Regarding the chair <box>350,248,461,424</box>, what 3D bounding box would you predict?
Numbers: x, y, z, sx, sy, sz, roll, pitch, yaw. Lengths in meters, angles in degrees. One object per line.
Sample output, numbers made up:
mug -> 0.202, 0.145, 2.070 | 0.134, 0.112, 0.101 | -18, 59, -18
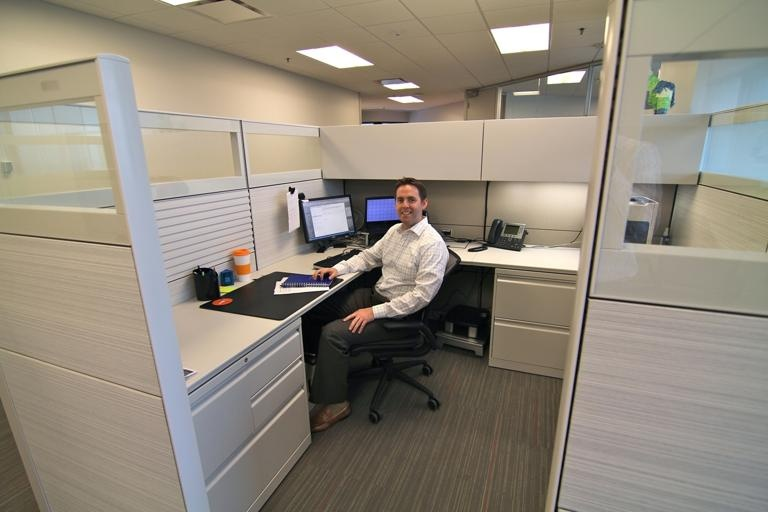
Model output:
chair -> 0.056, 0.436, 2.993 | 0.654, 0.848, 0.598 | 0, 16, -14

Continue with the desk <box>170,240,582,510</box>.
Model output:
desk -> -0.364, 0.369, 2.710 | 1.642, 0.645, 1.605 | -1, 17, 4

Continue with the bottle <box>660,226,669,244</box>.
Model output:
bottle -> 0.961, -0.069, 1.664 | 0.032, 0.057, 0.019 | -11, 17, -35

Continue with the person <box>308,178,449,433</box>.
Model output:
person -> -0.065, 0.273, 3.061 | 0.834, 1.473, 0.759 | 1, 16, -14

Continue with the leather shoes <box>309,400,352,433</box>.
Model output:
leather shoes -> -0.309, 0.909, 2.801 | 0.232, 0.080, 0.120 | -2, 4, -42

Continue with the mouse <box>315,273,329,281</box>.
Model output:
mouse -> -0.367, 0.121, 2.888 | 0.088, 0.042, 0.070 | -1, 6, -10

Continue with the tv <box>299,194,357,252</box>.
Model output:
tv -> -0.362, -0.234, 3.457 | 0.522, 0.373, 0.151 | -3, 13, 41
